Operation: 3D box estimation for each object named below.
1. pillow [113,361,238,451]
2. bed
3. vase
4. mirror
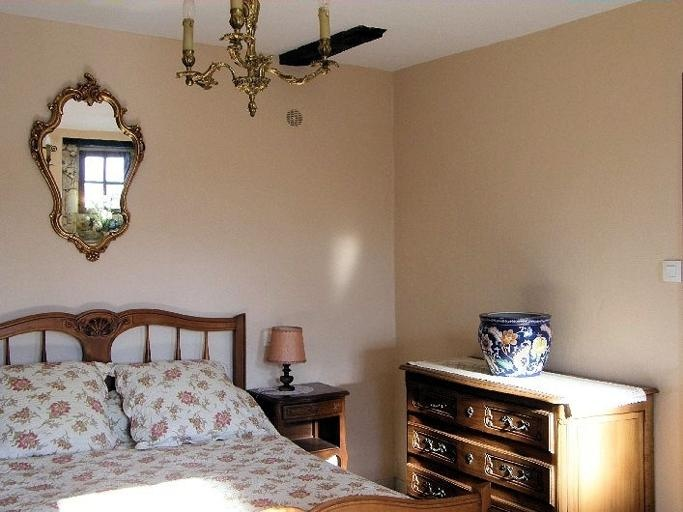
[{"bbox_3d":[-0.951,0.836,3.467,0.686,0.347,0.458,0,8,-18],"label":"pillow"},{"bbox_3d":[-0.894,0.565,3.170,1.356,0.846,1.405,-1,4,-37],"label":"bed"},{"bbox_3d":[0.976,0.510,3.405,0.389,0.304,0.417,1,-4,14],"label":"vase"},{"bbox_3d":[-1.550,-0.551,3.679,0.639,1.156,0.197,-2,10,-27],"label":"mirror"}]
